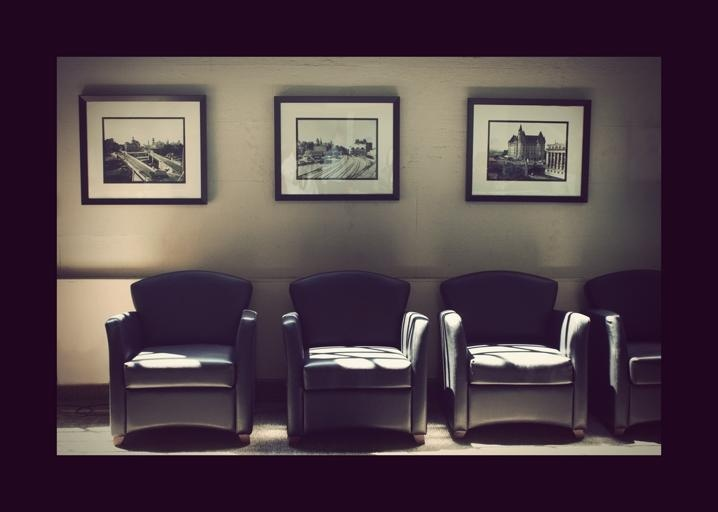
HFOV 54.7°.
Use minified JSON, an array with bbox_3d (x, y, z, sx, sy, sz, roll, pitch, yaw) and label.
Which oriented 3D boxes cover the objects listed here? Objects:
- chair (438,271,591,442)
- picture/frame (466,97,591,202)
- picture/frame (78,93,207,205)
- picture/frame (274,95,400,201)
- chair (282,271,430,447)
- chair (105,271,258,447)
[{"bbox_3d":[0.999,0.628,4.679,0.904,1.030,0.903,-1,0,2],"label":"chair"},{"bbox_3d":[1.198,-0.801,5.044,0.731,0.636,0.030,0,2,-5],"label":"picture/frame"},{"bbox_3d":[-1.559,-0.796,4.964,0.760,0.675,0.075,0,6,2],"label":"picture/frame"},{"bbox_3d":[-0.188,-0.806,4.977,0.724,0.625,0.035,0,2,-2],"label":"picture/frame"},{"bbox_3d":[0.005,0.639,4.695,1.044,1.166,0.954,0,-3,-2],"label":"chair"},{"bbox_3d":[-1.102,0.633,4.557,0.980,1.023,0.833,-1,2,5],"label":"chair"}]
